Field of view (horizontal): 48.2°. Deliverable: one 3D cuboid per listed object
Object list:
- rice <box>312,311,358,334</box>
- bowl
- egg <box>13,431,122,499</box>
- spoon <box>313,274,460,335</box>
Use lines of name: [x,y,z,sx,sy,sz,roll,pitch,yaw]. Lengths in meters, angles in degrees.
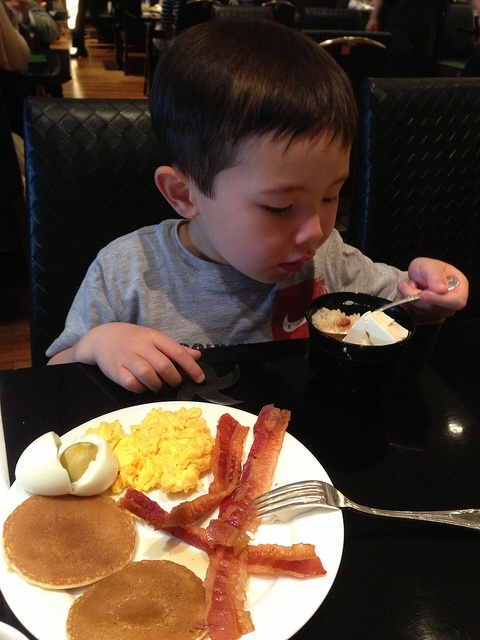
rice: [0.148,0.003,0.817,0.052,0.015,0.043,8,30,0]
bowl: [0.174,0.033,0.783,0.169,0.101,0.169,-7,29,4]
egg: [-0.189,0.141,0.576,0.090,0.049,0.068,0,26,-34]
spoon: [0.243,0.001,0.863,0.231,0.031,0.117,-21,30,-4]
